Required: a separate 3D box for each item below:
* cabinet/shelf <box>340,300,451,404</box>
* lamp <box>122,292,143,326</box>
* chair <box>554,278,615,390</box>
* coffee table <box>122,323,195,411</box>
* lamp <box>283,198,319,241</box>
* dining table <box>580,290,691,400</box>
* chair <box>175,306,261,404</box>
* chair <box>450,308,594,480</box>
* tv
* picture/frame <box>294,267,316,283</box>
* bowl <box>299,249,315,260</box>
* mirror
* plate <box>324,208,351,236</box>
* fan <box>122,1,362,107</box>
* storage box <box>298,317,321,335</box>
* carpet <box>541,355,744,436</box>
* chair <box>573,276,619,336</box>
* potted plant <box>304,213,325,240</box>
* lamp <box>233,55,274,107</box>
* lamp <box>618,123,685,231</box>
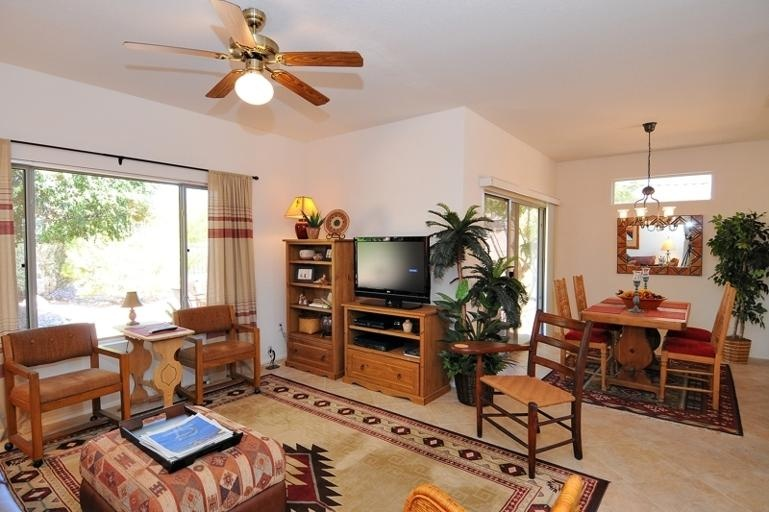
[{"bbox_3d":[0.148,1.153,5.977,1.276,0.992,0.664,3,4,41],"label":"cabinet/shelf"},{"bbox_3d":[-2.857,0.577,5.464,0.191,0.384,0.347,-1,3,-26],"label":"lamp"},{"bbox_3d":[2.577,0.946,6.247,0.765,1.134,0.730,3,8,36],"label":"chair"},{"bbox_3d":[-2.593,1.239,5.424,0.946,0.799,0.648,3,1,36],"label":"coffee table"},{"bbox_3d":[-1.092,-0.525,6.571,0.596,0.517,0.565,0,2,-2],"label":"lamp"},{"bbox_3d":[3.350,1.111,6.402,1.096,1.054,1.789,1,7,31],"label":"dining table"},{"bbox_3d":[-2.007,1.163,5.771,0.716,0.983,0.878,6,7,35],"label":"chair"},{"bbox_3d":[1.276,1.272,4.750,1.368,1.209,1.053,2,8,32],"label":"chair"},{"bbox_3d":[0.083,0.184,5.924,1.130,0.844,0.243,2,5,37],"label":"tv"},{"bbox_3d":[-1.096,0.245,6.587,0.355,0.259,0.182,1,5,19],"label":"picture/frame"},{"bbox_3d":[-1.054,-0.024,6.553,0.172,0.091,0.147,0,7,2],"label":"bowl"},{"bbox_3d":[4.198,-0.172,7.280,1.028,0.789,0.043,1,1,37],"label":"mirror"},{"bbox_3d":[-0.630,-0.460,6.581,0.360,0.406,0.402,-1,3,-27],"label":"plate"},{"bbox_3d":[-1.149,-1.679,4.162,1.500,0.838,1.192,0,2,-28],"label":"fan"},{"bbox_3d":[-1.016,0.938,6.573,0.250,0.167,0.249,1,1,38],"label":"storage box"},{"bbox_3d":[3.409,1.556,6.251,2.047,0.037,2.324,5,11,27],"label":"carpet"},{"bbox_3d":[2.914,0.690,6.660,0.551,0.857,0.511,5,11,41],"label":"chair"},{"bbox_3d":[-0.912,-0.402,6.535,0.344,0.342,0.347,-1,-5,23],"label":"potted plant"},{"bbox_3d":[-1.097,-1.413,4.006,0.398,0.366,0.376,3,-25,-22],"label":"lamp"},{"bbox_3d":[3.793,-1.058,6.926,0.909,1.355,1.420,2,3,30],"label":"lamp"}]
